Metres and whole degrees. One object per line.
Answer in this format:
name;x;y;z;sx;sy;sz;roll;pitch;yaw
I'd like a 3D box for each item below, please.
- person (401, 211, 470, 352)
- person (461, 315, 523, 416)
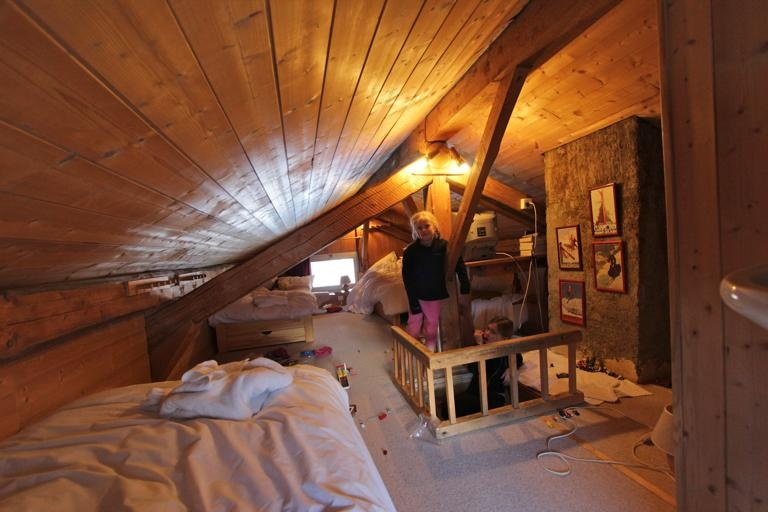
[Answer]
person;0.368;0.242;4.010;0.393;1.210;0.345;1;16;17
person;0.727;0.810;3.501;0.433;0.672;0.686;5;-3;38
